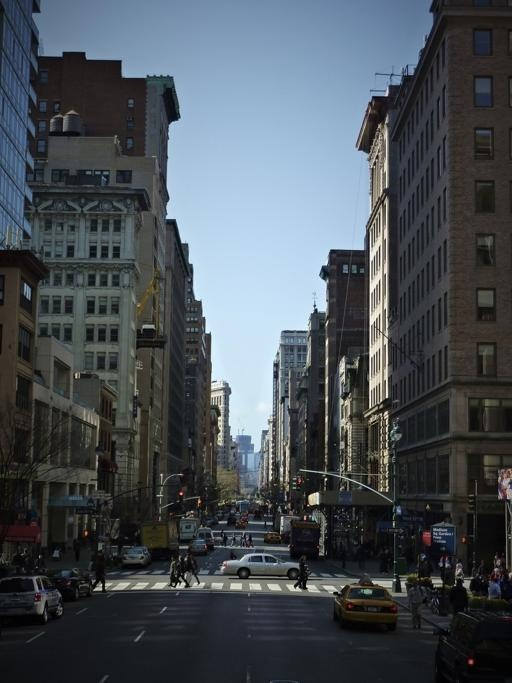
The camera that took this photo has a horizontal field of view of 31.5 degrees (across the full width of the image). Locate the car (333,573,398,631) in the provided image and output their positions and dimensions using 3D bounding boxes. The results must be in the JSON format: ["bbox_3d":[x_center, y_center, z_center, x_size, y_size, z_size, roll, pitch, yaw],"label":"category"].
[{"bbox_3d":[3.219,7.807,26.652,1.508,1.371,2.087,1,-15,-4],"label":"car"}]
